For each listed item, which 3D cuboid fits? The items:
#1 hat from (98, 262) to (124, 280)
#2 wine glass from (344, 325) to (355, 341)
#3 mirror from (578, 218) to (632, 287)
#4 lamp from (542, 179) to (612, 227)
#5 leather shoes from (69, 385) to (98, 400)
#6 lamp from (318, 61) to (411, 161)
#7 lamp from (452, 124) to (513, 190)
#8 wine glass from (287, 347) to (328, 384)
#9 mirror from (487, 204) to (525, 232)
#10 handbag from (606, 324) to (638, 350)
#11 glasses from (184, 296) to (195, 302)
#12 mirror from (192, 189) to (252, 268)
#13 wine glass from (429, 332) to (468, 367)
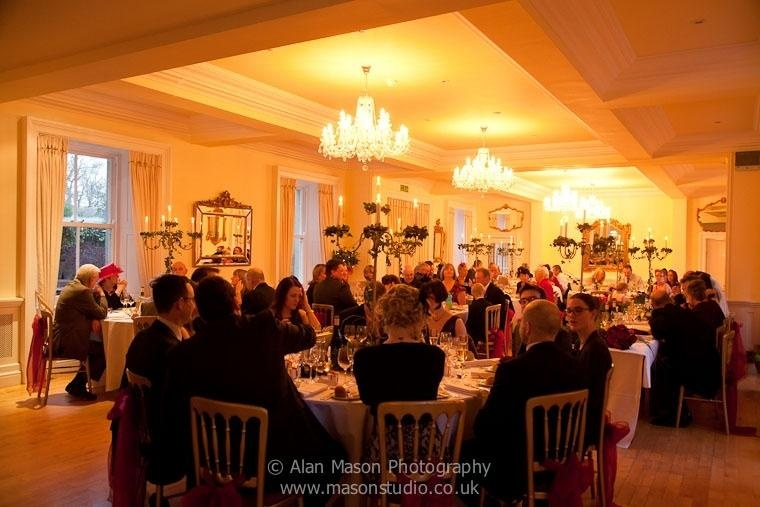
[{"bbox_3d":[-4.068,0.334,8.575,0.325,0.122,0.310,-21,12,-10],"label":"hat"},{"bbox_3d":[-0.267,0.712,5.110,0.117,0.196,0.119,1,-10,5],"label":"wine glass"},{"bbox_3d":[7.257,-0.220,18.055,1.445,1.992,0.047,2,-29,23],"label":"mirror"},{"bbox_3d":[5.522,-1.462,15.539,1.506,0.798,1.506,2,2,-17],"label":"lamp"},{"bbox_3d":[-4.051,1.875,7.644,0.427,0.186,0.147,6,3,-3],"label":"leather shoes"},{"bbox_3d":[-0.147,-1.974,8.040,1.208,1.413,1.232,1,6,10],"label":"lamp"},{"bbox_3d":[1.878,-1.774,10.384,1.102,1.169,1.148,5,9,19],"label":"lamp"},{"bbox_3d":[-0.653,1.019,5.170,0.321,0.370,0.325,0,-9,-4],"label":"wine glass"},{"bbox_3d":[4.496,-1.271,19.825,0.909,0.814,0.051,2,7,27],"label":"mirror"},{"bbox_3d":[2.851,0.981,6.646,0.299,0.214,0.307,-2,-4,17],"label":"handbag"},{"bbox_3d":[-1.645,0.400,4.863,0.083,0.064,0.307,2,0,-19],"label":"glasses"},{"bbox_3d":[-3.038,-0.467,10.673,0.075,1.703,1.514,0,0,34],"label":"mirror"},{"bbox_3d":[0.720,0.926,5.547,0.345,0.258,0.305,-2,-3,36],"label":"wine glass"}]
